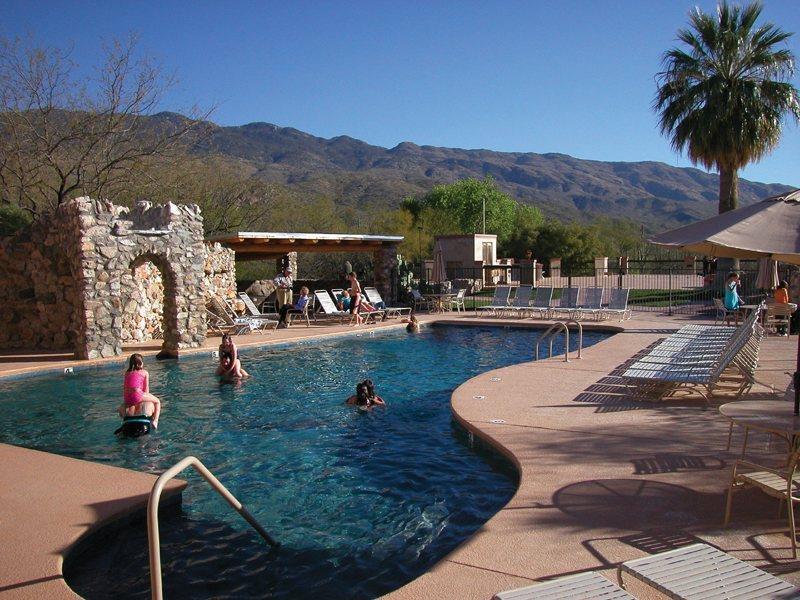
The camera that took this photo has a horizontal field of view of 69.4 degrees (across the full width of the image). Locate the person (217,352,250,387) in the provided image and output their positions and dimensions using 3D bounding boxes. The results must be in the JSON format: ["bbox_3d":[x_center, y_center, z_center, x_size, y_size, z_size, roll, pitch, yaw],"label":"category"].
[{"bbox_3d":[-3.520,1.463,12.083,0.317,0.366,1.029,-8,42,-5],"label":"person"}]

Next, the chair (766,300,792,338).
[{"bbox_3d":[9.621,0.462,14.587,0.642,0.960,2.022,-3,2,32],"label":"chair"}]

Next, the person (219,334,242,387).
[{"bbox_3d":[-3.554,1.152,11.947,0.491,0.929,0.927,-5,2,-18],"label":"person"}]
